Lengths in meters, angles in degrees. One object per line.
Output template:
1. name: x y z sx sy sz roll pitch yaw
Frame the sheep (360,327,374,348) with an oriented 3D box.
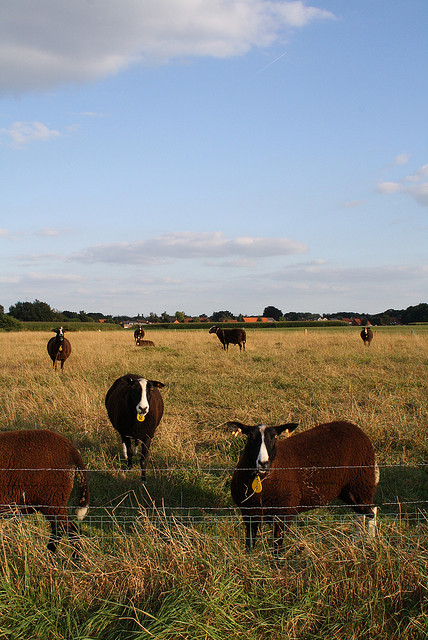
1. sheep: 6.714 0.663 29.565 0.575 1.084 1.926 -2 -7 20

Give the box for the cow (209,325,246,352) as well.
1. cow: 0.747 0.816 29.556 0.977 0.977 3.148 -2 8 -7

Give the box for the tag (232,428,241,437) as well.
1. tag: 0.207 1.033 6.174 0.058 0.107 0.197 -2 -12 4

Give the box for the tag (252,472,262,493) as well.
1. tag: 0.358 1.401 5.700 0.072 0.140 0.071 -2 8 -5

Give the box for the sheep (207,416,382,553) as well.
1. sheep: 0.884 1.604 6.435 0.664 1.317 2.107 5 0 44

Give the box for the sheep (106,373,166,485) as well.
1. sheep: -1.028 1.366 9.032 0.785 1.329 2.422 -2 8 -9
